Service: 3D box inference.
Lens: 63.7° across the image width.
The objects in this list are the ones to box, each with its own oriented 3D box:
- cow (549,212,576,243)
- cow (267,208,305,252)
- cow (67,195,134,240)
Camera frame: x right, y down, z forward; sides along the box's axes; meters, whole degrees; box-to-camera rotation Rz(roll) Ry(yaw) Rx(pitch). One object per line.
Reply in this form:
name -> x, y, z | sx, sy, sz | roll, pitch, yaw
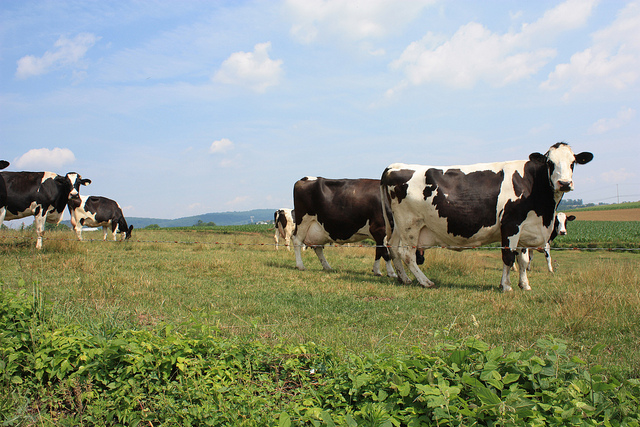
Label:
cow -> 11.785, 0.798, 24.916 | 1.167, 1.316, 2.541 | 5, -16, 20
cow -> -1.282, 0.750, 27.177 | 1.099, 2.014, 3.843 | 1, 4, 30
cow -> -11.029, 0.290, 25.717 | 1.086, 2.159, 4.175 | 5, -5, 25
